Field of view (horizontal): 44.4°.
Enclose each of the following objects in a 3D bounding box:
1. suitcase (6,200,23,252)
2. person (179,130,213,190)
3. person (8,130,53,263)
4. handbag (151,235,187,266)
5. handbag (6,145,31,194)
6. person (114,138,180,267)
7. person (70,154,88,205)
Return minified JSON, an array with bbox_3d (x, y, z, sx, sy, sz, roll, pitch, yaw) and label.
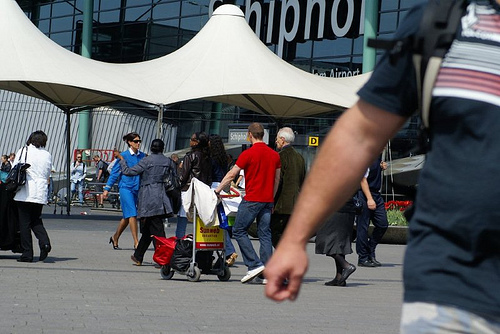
[{"bbox_3d":[-3.892,0.955,10.015,0.180,0.840,0.198,-3,-3,-23],"label":"suitcase"},{"bbox_3d":[-0.967,-0.142,10.741,0.621,0.924,0.403,-4,-3,-10],"label":"person"},{"bbox_3d":[-3.738,0.449,10.330,0.654,2.164,0.795,4,-5,-29],"label":"person"},{"bbox_3d":[-1.269,1.229,9.155,0.504,0.504,0.521,15,-13,-15],"label":"handbag"},{"bbox_3d":[-3.824,0.032,10.042,0.421,0.786,0.401,-3,-4,-34],"label":"handbag"},{"bbox_3d":[-1.683,0.559,10.469,0.965,2.144,0.838,-4,-3,-12],"label":"person"},{"bbox_3d":[-7.066,0.501,25.114,0.646,2.006,1.240,-4,-3,-17],"label":"person"}]
